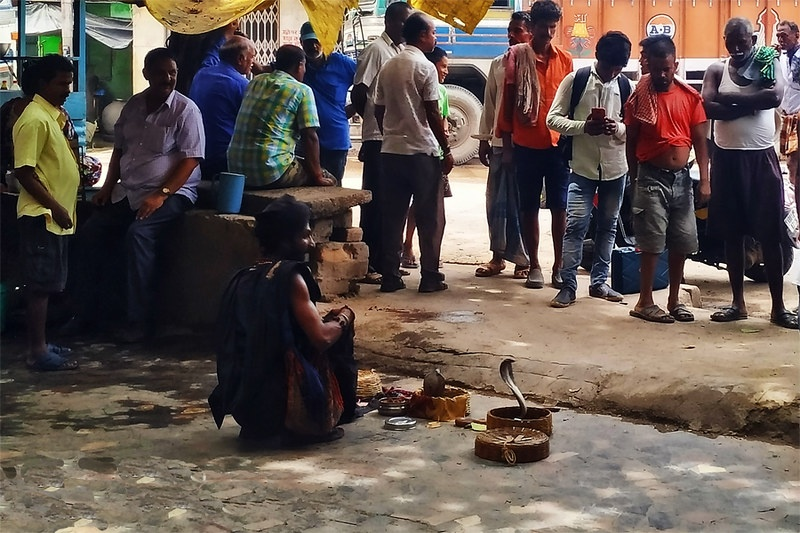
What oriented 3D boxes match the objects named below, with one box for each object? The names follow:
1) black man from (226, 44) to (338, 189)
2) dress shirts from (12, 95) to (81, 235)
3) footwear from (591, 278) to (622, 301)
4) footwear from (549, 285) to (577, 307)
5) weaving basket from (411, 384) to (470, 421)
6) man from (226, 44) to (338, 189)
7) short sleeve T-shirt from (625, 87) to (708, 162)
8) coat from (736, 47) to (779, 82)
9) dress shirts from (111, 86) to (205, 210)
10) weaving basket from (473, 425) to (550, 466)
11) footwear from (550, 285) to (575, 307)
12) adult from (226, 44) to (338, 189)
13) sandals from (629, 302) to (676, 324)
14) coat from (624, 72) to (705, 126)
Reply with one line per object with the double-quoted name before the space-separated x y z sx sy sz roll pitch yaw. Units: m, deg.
"black man" -1.236 -1.434 7.715 1.190 1.651 1.067 -14 28 -39
"dress shirts" -2.933 -0.840 6.154 0.504 1.154 0.306 -1 3 -37
"footwear" 2.054 0.230 7.401 0.351 0.131 0.135 11 20 31
"footwear" 1.562 0.301 7.085 0.128 0.121 0.304 3 2 29
"weaving basket" 0.291 0.963 5.243 0.294 0.105 0.242 1 9 6
"man" -1.216 -1.458 7.726 1.246 1.676 1.086 -10 26 -33
"short sleeve T-shirt" 2.349 -1.247 6.540 0.727 0.656 0.398 0 -3 -8
"coat" 3.263 -1.808 6.729 0.343 0.320 0.220 7 -6 17
"dress shirts" -2.282 -1.080 7.020 1.070 1.154 0.708 14 16 15
"weaving basket" 0.705 1.114 4.620 0.380 0.145 0.360 -1 3 -40
"footwear" 1.603 0.293 7.134 0.359 0.187 0.171 -1 3 -39
"adult" -1.216 -1.436 7.718 1.187 1.632 1.101 -15 29 -43
"sandals" 2.272 0.405 6.649 0.317 0.108 0.161 8 13 25
"coat" 2.164 -1.443 6.510 0.542 0.499 0.140 -1 -5 6
